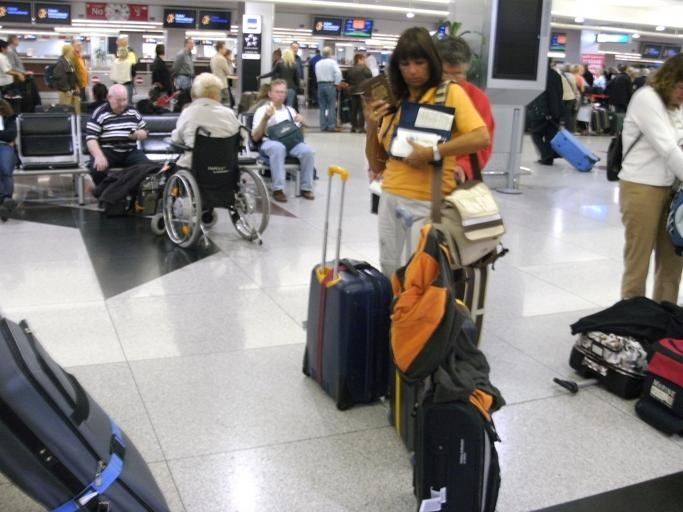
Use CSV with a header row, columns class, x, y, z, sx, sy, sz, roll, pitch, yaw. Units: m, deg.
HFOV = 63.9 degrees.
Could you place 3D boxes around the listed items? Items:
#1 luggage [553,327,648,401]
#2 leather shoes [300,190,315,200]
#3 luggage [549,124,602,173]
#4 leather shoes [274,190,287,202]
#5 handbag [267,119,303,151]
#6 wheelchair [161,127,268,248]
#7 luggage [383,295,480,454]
class,x,y,z,sx,sy,sz,roll,pitch,yaw
luggage,1.658,0.600,3.270,0.461,0.323,0.482,-8,16,-27
leather shoes,-0.493,-0.864,7.670,0.090,0.102,0.242,-15,27,-31
luggage,4.334,-1.966,10.148,0.833,0.753,0.496,7,19,21
leather shoes,-0.841,-0.807,7.335,0.106,0.085,0.204,-12,25,-28
handbag,-0.791,-1.623,7.373,0.355,0.346,0.203,-29,18,-15
wheelchair,-1.356,-0.724,5.560,0.775,1.254,0.954,-10,16,-38
luggage,0.421,0.543,2.638,0.377,0.637,0.401,-5,3,-27
